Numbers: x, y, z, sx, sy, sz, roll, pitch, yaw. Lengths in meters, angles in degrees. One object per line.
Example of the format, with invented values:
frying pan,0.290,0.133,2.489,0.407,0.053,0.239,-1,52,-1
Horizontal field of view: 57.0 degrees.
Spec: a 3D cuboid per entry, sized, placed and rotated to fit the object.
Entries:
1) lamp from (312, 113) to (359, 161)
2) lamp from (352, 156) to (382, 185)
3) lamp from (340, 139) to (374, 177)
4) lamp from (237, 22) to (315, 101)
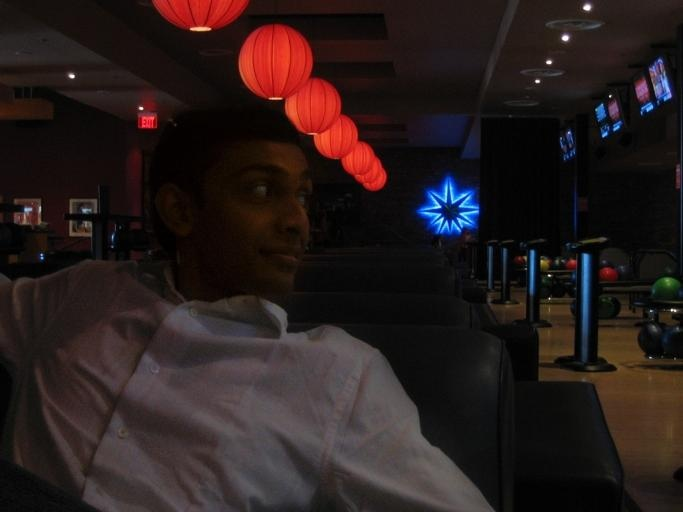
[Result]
lamp,-0.058,-1.240,6.521,0.383,0.489,0.415,0,1,11
lamp,0.400,-1.294,9.612,0.396,0.490,0.428,1,2,-5
lamp,0.203,-1.245,8.014,0.368,0.453,0.399,0,1,7
lamp,-0.456,-1.344,4.657,0.493,0.630,0.534,0,1,7
